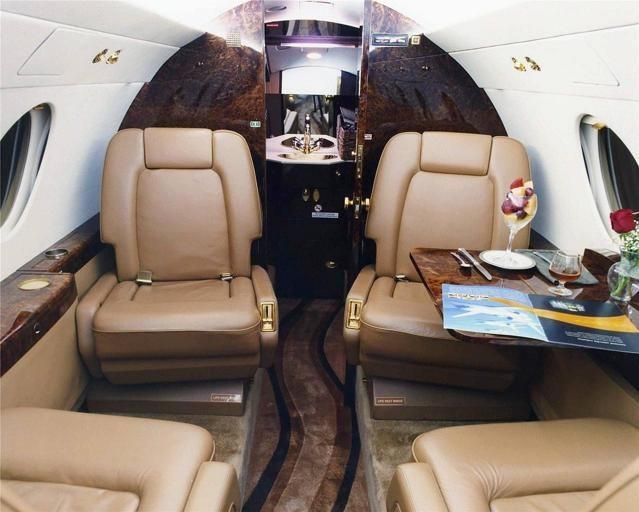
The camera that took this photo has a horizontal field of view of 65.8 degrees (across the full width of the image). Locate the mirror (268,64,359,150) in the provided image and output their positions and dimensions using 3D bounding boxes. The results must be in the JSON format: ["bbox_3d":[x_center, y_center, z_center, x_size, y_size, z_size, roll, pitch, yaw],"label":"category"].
[{"bbox_3d":[-0.063,-1.150,3.749,0.850,0.626,0.009,0,20,-6],"label":"mirror"}]

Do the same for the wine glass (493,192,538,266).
[{"bbox_3d":[0.864,-0.161,2.167,0.129,0.335,0.451,7,18,22],"label":"wine glass"}]

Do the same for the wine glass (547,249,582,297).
[{"bbox_3d":[0.906,0.059,1.841,0.110,0.157,0.106,-13,24,-32],"label":"wine glass"}]
